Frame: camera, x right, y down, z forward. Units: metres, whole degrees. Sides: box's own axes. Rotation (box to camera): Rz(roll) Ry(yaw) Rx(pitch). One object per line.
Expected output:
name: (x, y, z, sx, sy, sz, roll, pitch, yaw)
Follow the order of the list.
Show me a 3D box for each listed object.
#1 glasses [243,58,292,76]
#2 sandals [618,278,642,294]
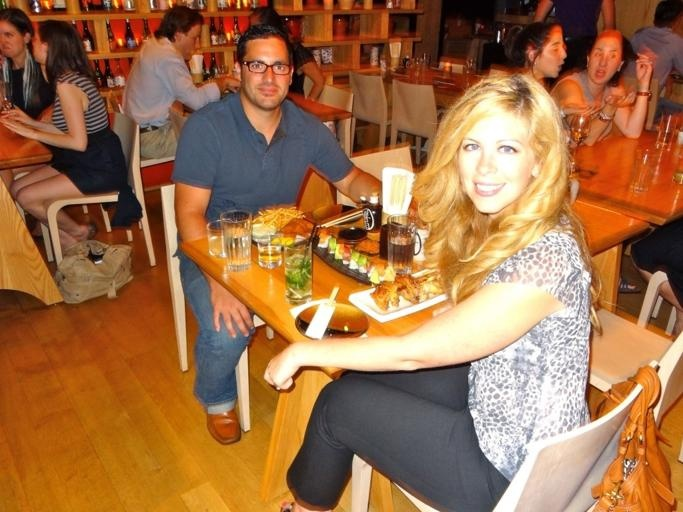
glasses: (-0.343, -0.872, 2.166, 0.211, 0.063, 0.085, -5, 30, -12)
sandals: (2.039, 0.218, 3.309, 0.099, 0.072, 0.176, -14, 22, -20)
